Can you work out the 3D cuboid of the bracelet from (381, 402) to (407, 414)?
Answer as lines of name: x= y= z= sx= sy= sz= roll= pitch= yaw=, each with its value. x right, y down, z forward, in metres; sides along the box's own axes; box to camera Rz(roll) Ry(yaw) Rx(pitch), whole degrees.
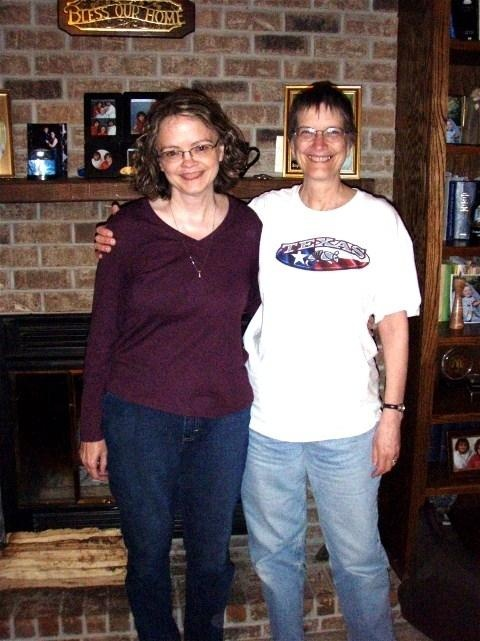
bracelet: x=0.381 y=0.206 z=1.484 sx=0.039 sy=0.019 sz=0.037 roll=-1 pitch=-2 yaw=26

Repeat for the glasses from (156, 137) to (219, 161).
glasses: x=-0.115 y=-0.377 z=1.360 sx=0.130 sy=0.046 sz=0.048 roll=-2 pitch=9 yaw=-5

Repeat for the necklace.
necklace: x=-0.095 y=-0.176 z=1.346 sx=0.099 sy=0.177 sz=0.006 roll=0 pitch=18 yaw=16
